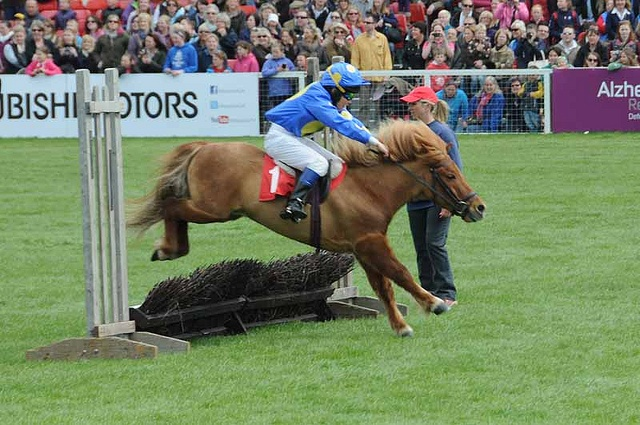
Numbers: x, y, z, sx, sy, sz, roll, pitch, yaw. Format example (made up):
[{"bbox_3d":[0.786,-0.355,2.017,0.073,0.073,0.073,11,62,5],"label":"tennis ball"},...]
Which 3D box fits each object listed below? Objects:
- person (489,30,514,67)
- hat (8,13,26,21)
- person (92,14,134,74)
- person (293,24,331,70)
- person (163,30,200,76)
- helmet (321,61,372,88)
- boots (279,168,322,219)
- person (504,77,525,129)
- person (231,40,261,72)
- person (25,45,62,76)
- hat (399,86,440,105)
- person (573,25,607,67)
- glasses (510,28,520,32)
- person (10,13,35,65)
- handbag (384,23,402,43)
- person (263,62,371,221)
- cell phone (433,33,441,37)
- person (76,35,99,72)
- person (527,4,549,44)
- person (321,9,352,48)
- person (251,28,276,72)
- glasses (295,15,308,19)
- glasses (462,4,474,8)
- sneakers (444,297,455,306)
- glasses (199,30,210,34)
[{"bbox_3d":[3.201,-2.852,27.763,0.441,0.673,0.466,-3,9,-10],"label":"person"},{"bbox_3d":[-6.108,-3.935,32.018,0.296,0.113,0.401,2,8,-1],"label":"hat"},{"bbox_3d":[-3.801,-2.796,28.964,0.712,1.436,0.453,-3,-4,3],"label":"person"},{"bbox_3d":[-0.022,-2.910,28.127,0.683,0.820,0.422,-10,6,43],"label":"person"},{"bbox_3d":[-2.484,-2.830,28.132,0.619,0.780,0.988,-2,8,-4],"label":"person"},{"bbox_3d":[0.309,-1.796,20.824,0.495,0.224,0.333,1,8,4],"label":"helmet"},{"bbox_3d":[-0.242,-0.212,20.672,0.326,0.689,0.466,5,11,38],"label":"boots"},{"bbox_3d":[3.349,-1.800,26.896,0.428,0.939,0.189,-9,11,-38],"label":"person"},{"bbox_3d":[-1.332,-2.721,27.865,0.531,0.519,0.706,-2,8,-3],"label":"person"},{"bbox_3d":[-5.035,-2.673,28.535,0.785,0.569,0.894,1,0,9],"label":"person"},{"bbox_3d":[1.345,-1.577,21.622,0.405,0.176,0.245,-2,2,-7],"label":"hat"},{"bbox_3d":[4.653,-2.911,27.832,0.654,0.833,0.590,6,20,25],"label":"person"},{"bbox_3d":[3.471,-3.226,28.119,0.104,0.027,0.102,-2,2,-37],"label":"glasses"},{"bbox_3d":[-5.580,-3.368,30.449,0.272,0.640,1.011,-14,-11,-2],"label":"person"},{"bbox_3d":[1.364,-3.288,29.177,0.281,0.304,0.141,8,-14,-23],"label":"handbag"},{"bbox_3d":[-0.033,-0.904,20.785,1.391,2.050,0.745,-2,9,-2],"label":"person"},{"bbox_3d":[2.065,-3.122,28.015,0.110,0.065,0.055,1,3,3],"label":"cell phone"},{"bbox_3d":[-4.270,-2.921,29.231,0.286,0.724,0.599,-7,-12,16],"label":"person"},{"bbox_3d":[3.885,-3.425,28.663,0.337,0.574,1.077,2,31,6],"label":"person"},{"bbox_3d":[0.256,-3.382,28.961,0.299,0.530,1.044,-2,26,-11],"label":"person"},{"bbox_3d":[-1.021,-2.966,28.187,0.261,0.428,0.813,0,43,-5],"label":"person"},{"bbox_3d":[-0.332,-3.601,29.279,0.209,0.083,0.113,-2,8,-1],"label":"glasses"},{"bbox_3d":[2.746,-3.847,29.506,0.166,0.073,0.101,0,9,7],"label":"glasses"},{"bbox_3d":[1.785,1.255,21.728,0.213,0.098,0.058,7,9,-1],"label":"sneakers"},{"bbox_3d":[-2.077,-3.237,28.541,0.069,0.071,0.200,5,11,38],"label":"glasses"}]
